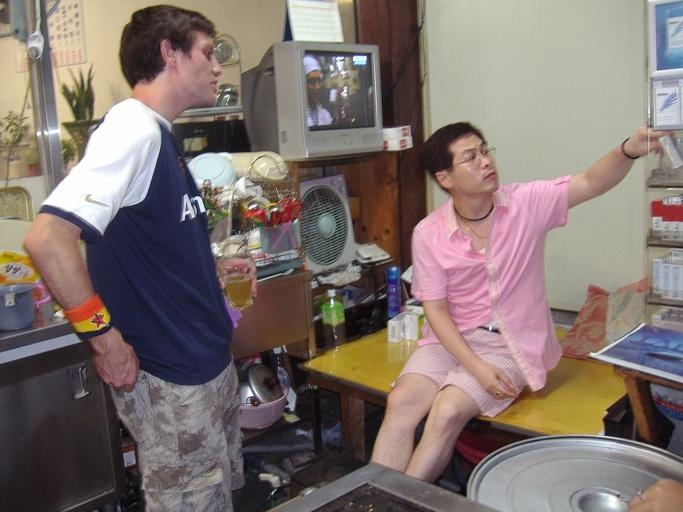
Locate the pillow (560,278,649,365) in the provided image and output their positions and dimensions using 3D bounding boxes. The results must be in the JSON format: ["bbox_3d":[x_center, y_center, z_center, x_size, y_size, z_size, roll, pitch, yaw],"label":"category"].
[{"bbox_3d":[1.292,0.291,2.528,0.305,0.536,0.132,9,28,20],"label":"pillow"}]

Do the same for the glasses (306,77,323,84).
[{"bbox_3d":[-0.121,-0.868,2.597,0.054,0.044,0.055,-9,14,-35],"label":"glasses"}]

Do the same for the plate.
[{"bbox_3d":[-0.443,-0.382,2.287,0.328,0.117,0.247,-5,17,-25],"label":"plate"}]

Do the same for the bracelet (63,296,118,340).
[{"bbox_3d":[-0.649,0.156,1.367,0.100,0.118,0.049,-13,16,-27],"label":"bracelet"}]

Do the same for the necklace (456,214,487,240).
[{"bbox_3d":[0.552,-0.136,2.237,0.107,0.080,0.028,38,47,4],"label":"necklace"}]

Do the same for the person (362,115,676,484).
[{"bbox_3d":[0.686,0.096,2.208,0.893,1.108,1.530,9,46,32],"label":"person"}]

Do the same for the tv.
[{"bbox_3d":[-0.176,-0.846,2.915,0.753,0.540,0.773,-7,14,-11],"label":"tv"}]

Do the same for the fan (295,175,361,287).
[{"bbox_3d":[-0.079,-0.175,2.951,0.109,0.524,0.398,6,18,39],"label":"fan"}]

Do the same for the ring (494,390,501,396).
[{"bbox_3d":[0.591,0.519,2.004,0.019,0.020,0.005,-2,11,-9],"label":"ring"}]

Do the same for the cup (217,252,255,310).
[{"bbox_3d":[-0.349,0.081,1.848,0.116,0.199,0.120,-5,13,1],"label":"cup"}]

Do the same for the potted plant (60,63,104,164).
[{"bbox_3d":[-1.524,-0.829,3.149,0.231,0.525,0.231,-11,5,-26],"label":"potted plant"}]

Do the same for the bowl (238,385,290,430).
[{"bbox_3d":[-0.360,0.724,2.543,0.246,0.138,0.254,-5,2,0],"label":"bowl"}]
